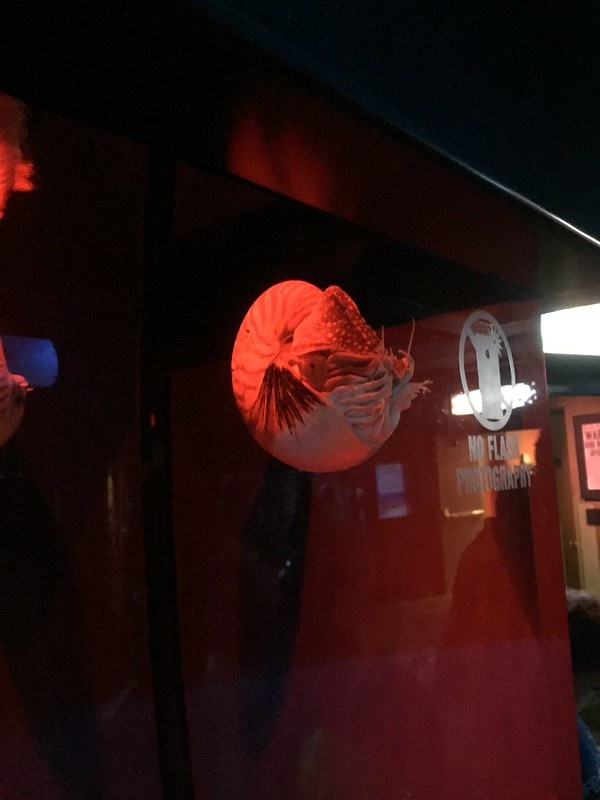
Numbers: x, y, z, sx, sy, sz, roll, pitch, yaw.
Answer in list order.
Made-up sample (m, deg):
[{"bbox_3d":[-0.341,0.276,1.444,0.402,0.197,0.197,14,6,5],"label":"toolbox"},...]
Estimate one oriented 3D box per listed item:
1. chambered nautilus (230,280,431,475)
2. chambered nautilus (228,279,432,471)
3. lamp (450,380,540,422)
[{"bbox_3d":[0.044,-0.061,1.228,0.312,0.446,0.245,-12,-11,-30],"label":"chambered nautilus"},{"bbox_3d":[0.004,-0.091,1.273,0.239,0.284,0.197,-6,41,23],"label":"chambered nautilus"},{"bbox_3d":[0.626,0.021,1.912,0.030,0.108,0.464,-4,4,42],"label":"lamp"}]
